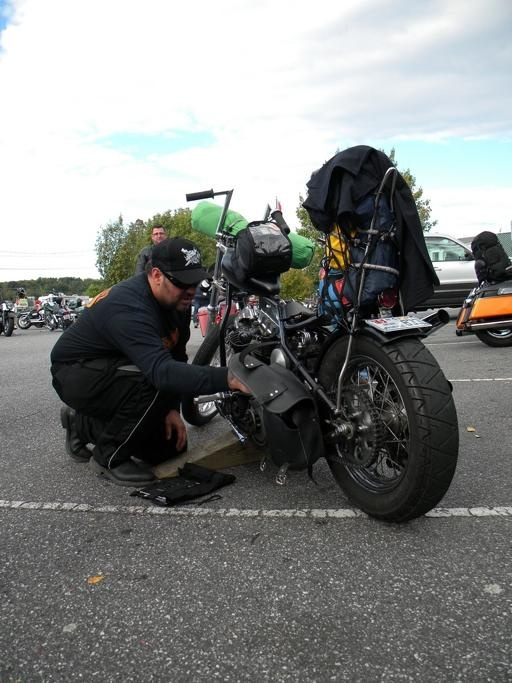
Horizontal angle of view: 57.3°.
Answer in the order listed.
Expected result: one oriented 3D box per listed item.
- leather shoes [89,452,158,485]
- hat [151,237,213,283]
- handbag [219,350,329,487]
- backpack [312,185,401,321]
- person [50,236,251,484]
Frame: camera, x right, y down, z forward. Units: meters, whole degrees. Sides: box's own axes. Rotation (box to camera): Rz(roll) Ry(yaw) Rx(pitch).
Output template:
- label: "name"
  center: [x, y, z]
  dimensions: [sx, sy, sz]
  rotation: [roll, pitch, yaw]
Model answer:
- label: "leather shoes"
  center: [-0.789, 0.761, 2.776]
  dimensions: [0.411, 0.165, 0.151]
  rotation: [0, 5, 20]
- label: "hat"
  center: [-0.419, -0.475, 2.603]
  dimensions: [0.363, 0.194, 0.263]
  rotation: [22, 26, 24]
- label: "handbag"
  center: [0.097, 0.371, 2.329]
  dimensions: [0.286, 0.555, 0.583]
  rotation: [-25, 28, -17]
- label: "backpack"
  center: [0.437, -0.384, 2.119]
  dimensions: [0.379, 0.407, 0.254]
  rotation: [-2, 1, 25]
- label: "person"
  center: [-0.650, 0.117, 2.840]
  dimensions: [1.465, 1.441, 0.849]
  rotation: [6, 5, 40]
